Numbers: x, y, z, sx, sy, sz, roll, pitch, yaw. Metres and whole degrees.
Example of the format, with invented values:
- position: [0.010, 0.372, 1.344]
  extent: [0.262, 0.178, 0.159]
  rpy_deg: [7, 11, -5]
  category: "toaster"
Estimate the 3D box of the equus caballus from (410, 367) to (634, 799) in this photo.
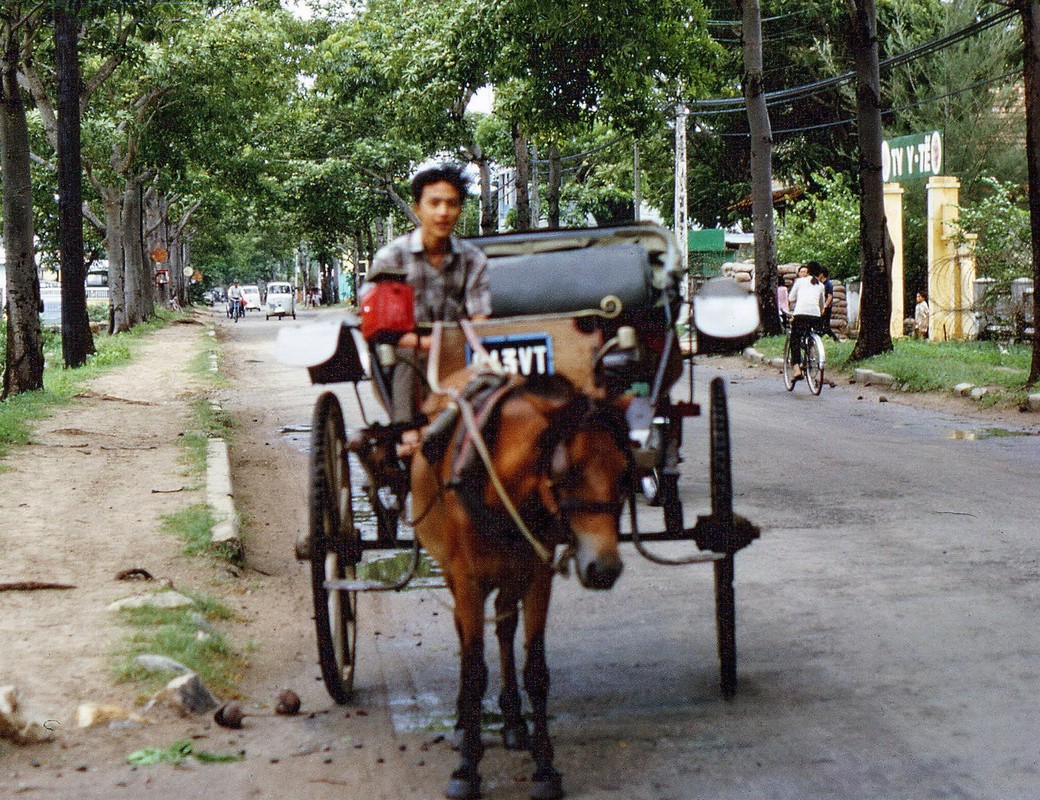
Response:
- position: [0.056, 0.832, 5.145]
  extent: [0.659, 1.930, 1.170]
  rpy_deg: [-5, 6, -33]
  category: "equus caballus"

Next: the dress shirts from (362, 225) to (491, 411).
- position: [-0.449, -0.331, 6.141]
  extent: [0.586, 1.323, 0.320]
  rpy_deg: [7, 37, -1]
  category: "dress shirts"

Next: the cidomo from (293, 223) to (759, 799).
- position: [0.048, 0.236, 6.317]
  extent: [1.802, 1.978, 3.197]
  rpy_deg: [-1, -7, -5]
  category: "cidomo"
